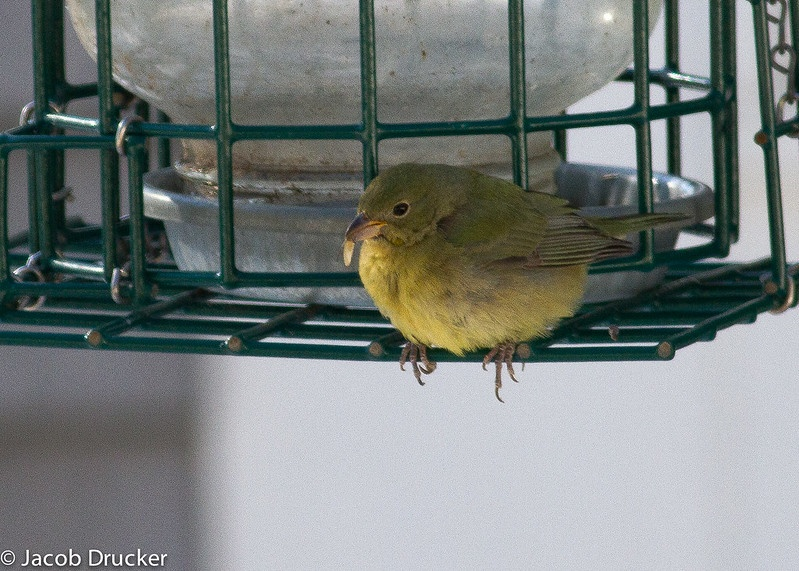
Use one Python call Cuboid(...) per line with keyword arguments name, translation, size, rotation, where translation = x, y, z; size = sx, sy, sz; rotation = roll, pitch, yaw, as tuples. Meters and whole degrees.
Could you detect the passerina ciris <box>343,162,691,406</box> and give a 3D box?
Cuboid(name="passerina ciris", translation=(0.129, -0.029, 3.095), size=(0.490, 0.282, 0.273), rotation=(10, -63, -14))
